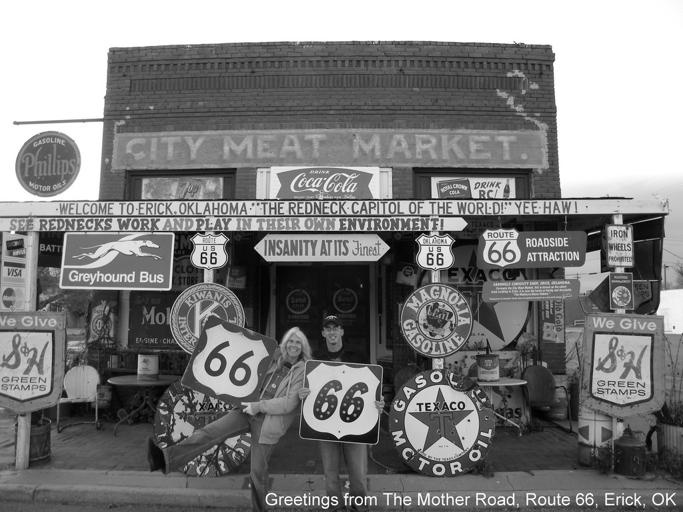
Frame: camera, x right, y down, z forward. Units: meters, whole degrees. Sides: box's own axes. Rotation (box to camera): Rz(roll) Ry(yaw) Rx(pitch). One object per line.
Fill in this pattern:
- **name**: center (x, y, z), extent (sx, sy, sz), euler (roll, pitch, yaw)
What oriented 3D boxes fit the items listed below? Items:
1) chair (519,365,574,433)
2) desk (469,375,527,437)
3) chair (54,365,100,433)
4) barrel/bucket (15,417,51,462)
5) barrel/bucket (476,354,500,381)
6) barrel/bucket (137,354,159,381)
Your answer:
- **chair**: center (3.568, 2.501, 17.404), extent (0.833, 1.258, 0.869), euler (-6, -9, 34)
- **desk**: center (2.703, 2.516, 17.036), extent (1.029, 0.941, 1.125), euler (1, 6, 23)
- **chair**: center (-4.787, 2.567, 18.098), extent (0.684, 1.192, 0.811), euler (0, -7, -24)
- **barrel/bucket**: center (-4.955, 2.932, 15.905), extent (0.539, 0.690, 0.580), euler (2, -4, 0)
- **barrel/bucket**: center (2.461, 1.868, 16.591), extent (0.355, 0.517, 0.385), euler (0, -3, 0)
- **barrel/bucket**: center (-3.391, 1.986, 17.528), extent (0.342, 0.453, 0.380), euler (0, -5, -1)
